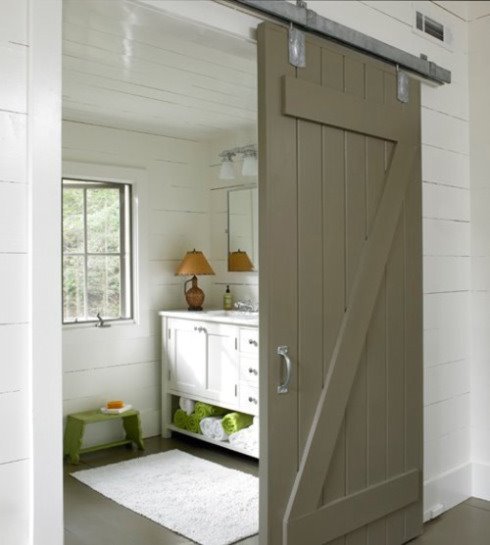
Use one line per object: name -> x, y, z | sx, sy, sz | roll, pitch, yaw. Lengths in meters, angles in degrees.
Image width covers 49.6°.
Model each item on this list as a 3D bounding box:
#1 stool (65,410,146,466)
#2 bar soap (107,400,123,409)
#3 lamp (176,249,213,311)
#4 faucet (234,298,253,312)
stool -> -1.022, 1.176, 3.893 | 0.229, 0.344, 0.510 | 7, 2, 44
bar soap -> -0.962, 0.974, 3.973 | 0.122, 0.042, 0.214 | -1, -1, -13
lamp -> -0.402, 0.059, 4.389 | 0.296, 0.512, 0.312 | -3, -2, 39
faucet -> 0.012, 0.247, 4.122 | 0.110, 0.075, 0.081 | 0, 0, -45
